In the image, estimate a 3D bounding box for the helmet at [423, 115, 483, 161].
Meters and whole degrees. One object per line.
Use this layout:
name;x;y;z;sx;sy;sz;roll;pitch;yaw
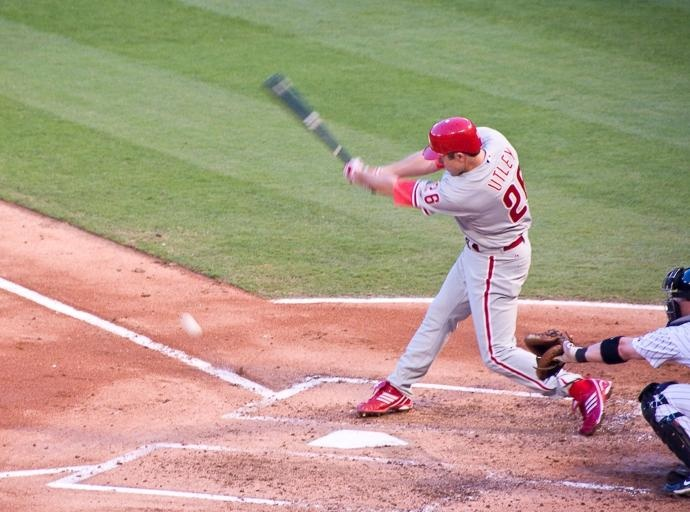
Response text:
helmet;0.977;-1.087;10.856;0.551;0.206;0.287;3;37;6

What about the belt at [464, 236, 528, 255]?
belt;1.375;-0.107;11.127;0.528;0.166;0.159;2;23;5
